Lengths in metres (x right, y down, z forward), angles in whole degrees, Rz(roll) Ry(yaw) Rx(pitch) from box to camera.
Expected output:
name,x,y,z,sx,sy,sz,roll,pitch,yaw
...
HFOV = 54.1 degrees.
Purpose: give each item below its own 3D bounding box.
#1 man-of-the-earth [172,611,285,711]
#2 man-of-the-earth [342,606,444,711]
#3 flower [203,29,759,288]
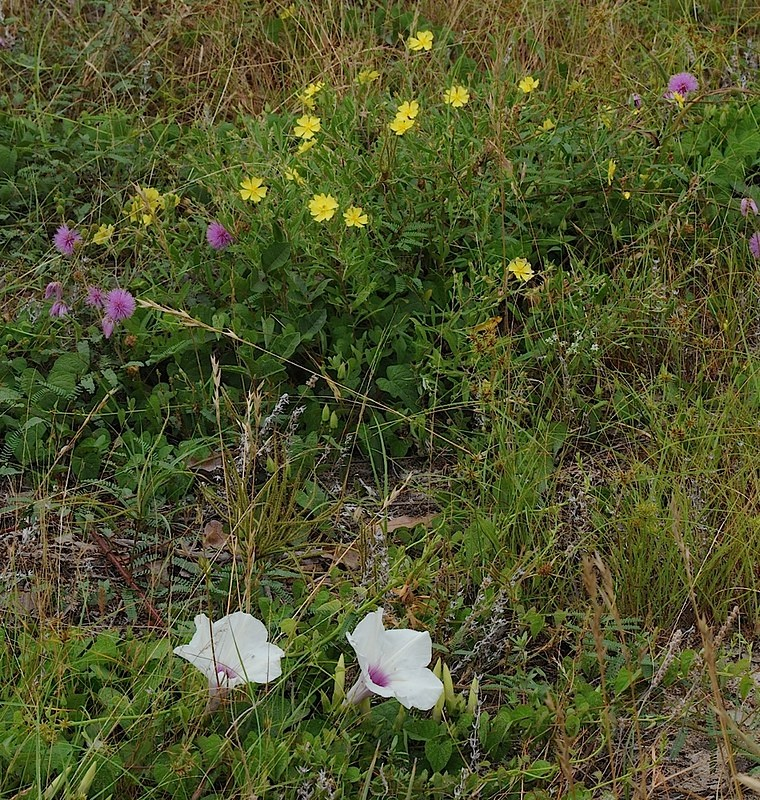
name,x,y,z,sx,sy,sz,roll,pitch,yaw
man-of-the-earth,-0.323,0.536,1.532,0.143,0.156,0.146,-19,45,23
man-of-the-earth,-0.007,0.520,1.526,0.227,0.149,0.273,5,-2,10
flower,0.432,-0.978,2.879,2.072,0.723,1.193,8,44,-7
